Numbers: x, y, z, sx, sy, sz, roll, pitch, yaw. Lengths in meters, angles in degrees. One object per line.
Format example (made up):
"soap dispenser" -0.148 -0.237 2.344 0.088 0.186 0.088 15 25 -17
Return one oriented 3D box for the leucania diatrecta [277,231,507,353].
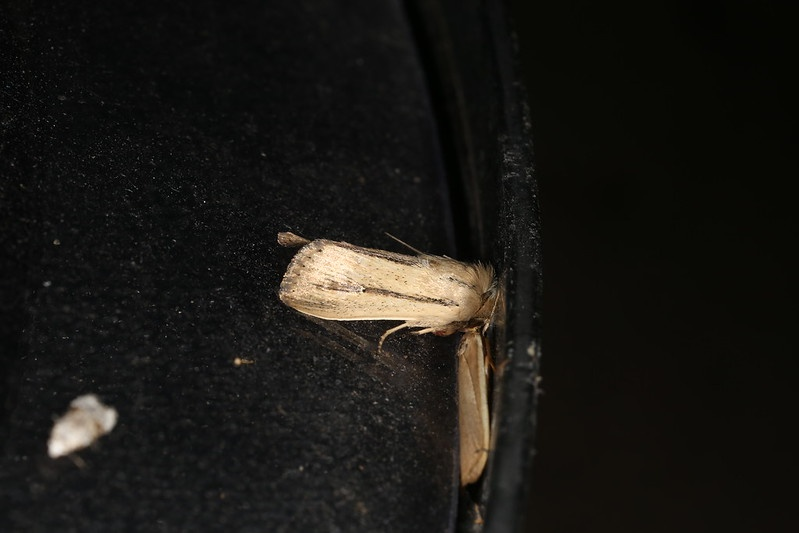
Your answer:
"leucania diatrecta" -0.009 0.025 0.961 0.201 0.072 0.145 7 78 -4
